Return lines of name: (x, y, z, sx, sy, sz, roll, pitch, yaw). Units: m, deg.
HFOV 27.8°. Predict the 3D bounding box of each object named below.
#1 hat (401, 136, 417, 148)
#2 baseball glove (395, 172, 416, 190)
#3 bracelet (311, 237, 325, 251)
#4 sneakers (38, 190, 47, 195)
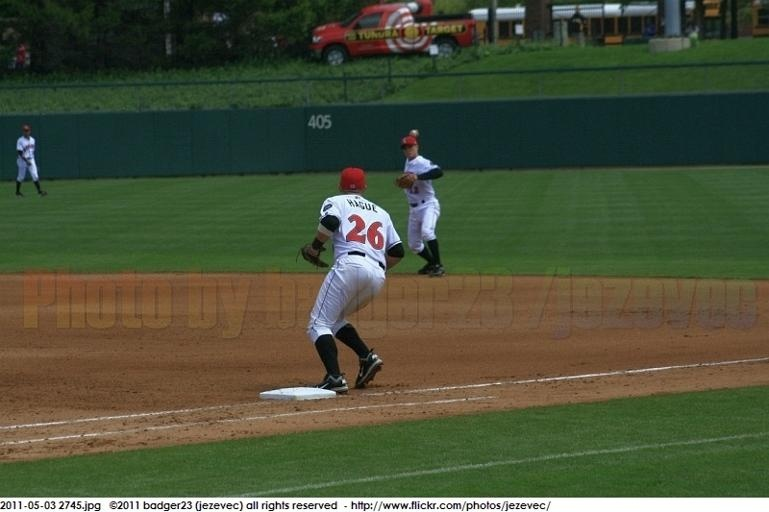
hat: (0.721, -3.033, 39.548, 0.343, 0.249, 0.454, -10, -7, 13)
baseball glove: (0.611, -1.901, 38.267, 0.353, 0.191, 0.449, 15, 29, 42)
bracelet: (-1.421, -0.311, 34.800, 0.291, 0.360, 0.332, -3, 7, -2)
sneakers: (-10.593, -2.053, 48.290, 0.200, 0.086, 0.276, 7, 4, 21)
